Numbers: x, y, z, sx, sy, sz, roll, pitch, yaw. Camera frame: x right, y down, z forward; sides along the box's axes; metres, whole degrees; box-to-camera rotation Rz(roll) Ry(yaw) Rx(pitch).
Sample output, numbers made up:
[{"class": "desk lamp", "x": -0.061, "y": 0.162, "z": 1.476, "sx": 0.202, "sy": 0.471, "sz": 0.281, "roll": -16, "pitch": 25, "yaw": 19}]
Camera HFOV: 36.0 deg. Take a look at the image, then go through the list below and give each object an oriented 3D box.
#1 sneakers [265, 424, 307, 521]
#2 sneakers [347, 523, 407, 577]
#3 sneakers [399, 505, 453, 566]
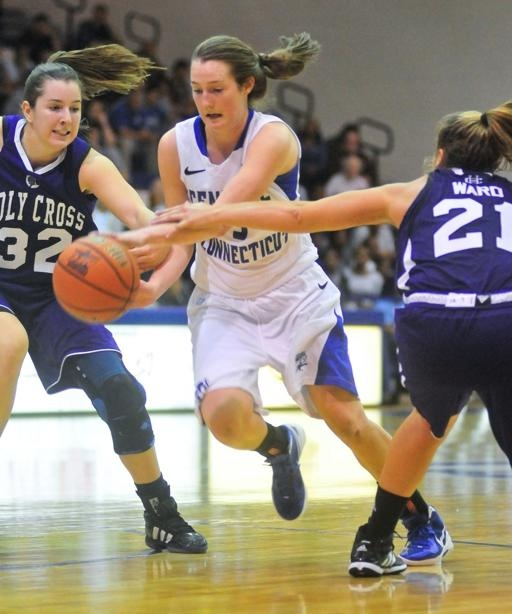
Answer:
[{"class": "sneakers", "x": 0.135, "y": 0.600, "z": 2.838, "sx": 0.143, "sy": 0.340, "sz": 0.151, "roll": -9, "pitch": -27, "yaw": 15}, {"class": "sneakers", "x": 0.318, "y": 0.659, "z": 2.109, "sx": 0.078, "sy": 0.081, "sz": 0.212, "roll": -2, "pitch": -5, "yaw": 31}, {"class": "sneakers", "x": 0.511, "y": 0.678, "z": 2.304, "sx": 0.089, "sy": 0.103, "sz": 0.251, "roll": -30, "pitch": -13, "yaw": 17}]
